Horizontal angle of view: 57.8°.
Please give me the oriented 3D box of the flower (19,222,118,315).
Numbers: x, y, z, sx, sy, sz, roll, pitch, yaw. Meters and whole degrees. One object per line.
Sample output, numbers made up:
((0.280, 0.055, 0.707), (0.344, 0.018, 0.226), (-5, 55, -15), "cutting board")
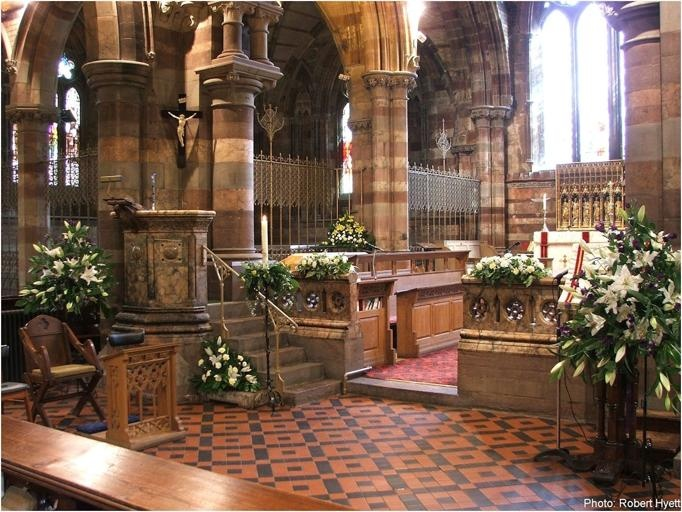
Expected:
((-3.636, 0.216, 8.147), (1.093, 1.203, 1.113), (-2, -13, 28), "flower")

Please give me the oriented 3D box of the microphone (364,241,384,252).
((0.703, -0.209, 13.566), (0.427, 0.140, 0.072), (27, 12, 36), "microphone")

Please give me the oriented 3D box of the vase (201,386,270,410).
((-1.382, 1.828, 7.980), (0.927, 0.212, 0.244), (2, 7, 29), "vase")

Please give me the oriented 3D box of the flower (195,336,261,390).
((-1.498, 1.468, 8.208), (0.964, 0.634, 0.565), (3, 7, 37), "flower")

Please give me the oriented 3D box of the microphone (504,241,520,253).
((3.660, -0.186, 13.171), (0.420, 0.143, 0.110), (-33, 41, -22), "microphone")

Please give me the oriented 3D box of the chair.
((-3.275, 1.336, 7.209), (0.832, 1.210, 0.700), (-3, -1, 33), "chair")
